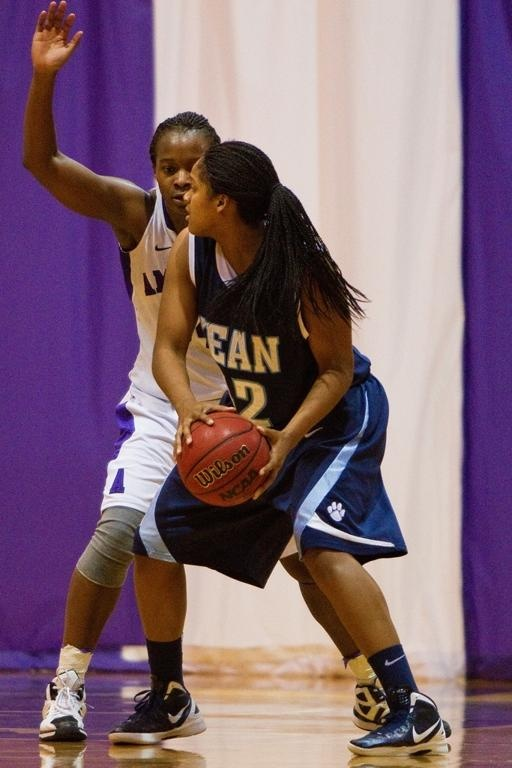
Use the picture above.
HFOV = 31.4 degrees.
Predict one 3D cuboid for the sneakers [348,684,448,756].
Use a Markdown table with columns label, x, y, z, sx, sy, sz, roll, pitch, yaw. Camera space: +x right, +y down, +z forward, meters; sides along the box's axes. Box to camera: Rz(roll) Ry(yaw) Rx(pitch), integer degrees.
| label | x | y | z | sx | sy | sz | roll | pitch | yaw |
| --- | --- | --- | --- | --- | --- | --- | --- | --- | --- |
| sneakers | 0.211 | 0.508 | 1.356 | 0.168 | 0.089 | 0.058 | 7 | -20 | -26 |

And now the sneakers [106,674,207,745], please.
| label | x | y | z | sx | sy | sz | roll | pitch | yaw |
| --- | --- | --- | --- | --- | --- | --- | --- | --- | --- |
| sneakers | -0.173 | 0.565 | 1.585 | 0.180 | 0.112 | 0.066 | 6 | -21 | -37 |

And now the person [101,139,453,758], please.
| label | x | y | z | sx | sy | sz | roll | pitch | yaw |
| --- | --- | --- | --- | --- | --- | --- | --- | --- | --- |
| person | 0.041 | 0.126 | 1.422 | 0.549 | 0.983 | 0.349 | 3 | 3 | 11 |

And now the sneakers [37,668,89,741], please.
| label | x | y | z | sx | sy | sz | roll | pitch | yaw |
| --- | --- | --- | --- | --- | --- | --- | --- | --- | --- |
| sneakers | -0.340 | 0.566 | 1.618 | 0.078 | 0.095 | 0.145 | 2 | 2 | -10 |
